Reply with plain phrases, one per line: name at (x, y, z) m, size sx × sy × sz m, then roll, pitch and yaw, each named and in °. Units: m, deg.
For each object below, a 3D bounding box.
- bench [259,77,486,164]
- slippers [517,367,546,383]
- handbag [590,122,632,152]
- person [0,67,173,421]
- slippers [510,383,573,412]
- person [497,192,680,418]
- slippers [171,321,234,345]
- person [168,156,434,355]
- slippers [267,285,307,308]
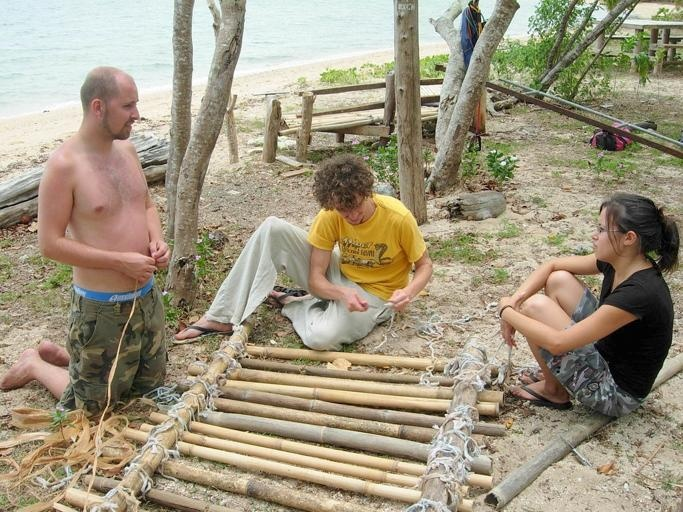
bench at (0.374, -2.191, 9.413) m, size 3.129 × 1.193 × 1.832 m, roll -1°, pitch 25°, yaw -6°
slippers at (1.286, 0.822, 4.261) m, size 0.191 × 0.049 × 0.083 m, roll -5°, pitch 34°, yaw 7°
handbag at (3.631, -1.577, 8.468) m, size 0.508 × 0.254 × 0.402 m, roll 11°, pitch 26°, yaw 20°
person at (-1.650, -0.036, 4.042) m, size 1.009 × 2.230 × 0.727 m, roll -6°, pitch 27°, yaw -16°
slippers at (1.310, 0.953, 4.105) m, size 0.345 × 0.079 × 0.132 m, roll 11°, pitch 27°, yaw 34°
person at (1.514, 0.314, 3.830) m, size 0.922 × 1.431 × 0.727 m, roll 21°, pitch 32°, yaw 35°
slippers at (-1.095, 0.598, 5.010) m, size 0.505 × 0.129 × 0.185 m, roll -3°, pitch 18°, yaw -7°
person at (-0.312, -0.063, 4.752) m, size 1.941 × 1.387 × 1.061 m, roll -2°, pitch 25°, yaw -10°
slippers at (-0.471, 0.346, 5.307) m, size 0.407 × 0.104 × 0.146 m, roll 3°, pitch 40°, yaw 9°
